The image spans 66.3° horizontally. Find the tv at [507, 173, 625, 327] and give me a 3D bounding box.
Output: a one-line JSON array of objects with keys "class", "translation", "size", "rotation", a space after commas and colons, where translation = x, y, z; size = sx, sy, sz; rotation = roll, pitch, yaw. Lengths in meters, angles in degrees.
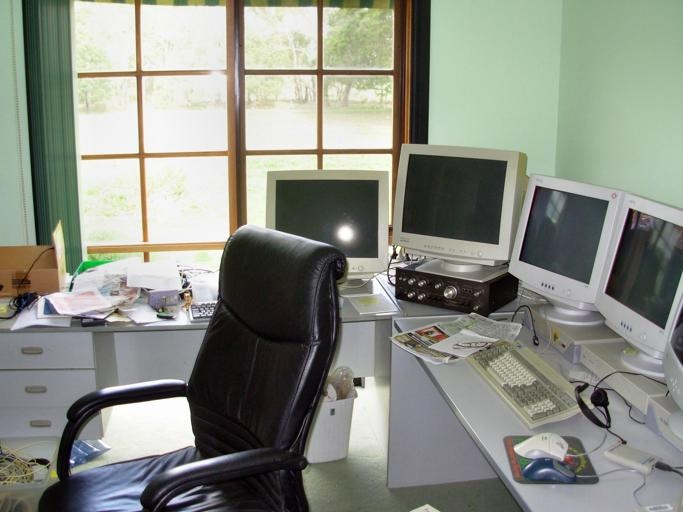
[{"class": "tv", "translation": [0.976, -0.039, 2.218], "size": [0.304, 0.608, 0.422], "rotation": [-18, 25, -28]}]

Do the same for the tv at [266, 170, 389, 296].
[{"class": "tv", "translation": [-0.065, -0.096, 2.871], "size": [0.629, 0.643, 0.367], "rotation": [-1, -18, 2]}]

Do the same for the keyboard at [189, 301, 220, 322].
[{"class": "keyboard", "translation": [-0.669, 0.262, 2.481], "size": [0.152, 0.036, 0.147], "rotation": [-2, 25, -1]}]

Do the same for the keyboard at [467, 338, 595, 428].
[{"class": "keyboard", "translation": [0.654, 0.440, 1.870], "size": [0.239, 0.047, 0.459], "rotation": [-17, 21, -11]}]

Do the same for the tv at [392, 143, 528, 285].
[{"class": "tv", "translation": [0.609, -0.247, 2.681], "size": [0.599, 0.613, 0.333], "rotation": [9, 12, 32]}]

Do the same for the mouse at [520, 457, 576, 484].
[{"class": "mouse", "translation": [0.567, 0.591, 1.433], "size": [0.102, 0.038, 0.068], "rotation": [-4, 10, 8]}]

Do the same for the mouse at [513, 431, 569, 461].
[{"class": "mouse", "translation": [0.583, 0.549, 1.493], "size": [0.162, 0.063, 0.092], "rotation": [3, 17, 6]}]

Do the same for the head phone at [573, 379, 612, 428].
[{"class": "head phone", "translation": [0.816, 0.475, 1.692], "size": [0.037, 0.090, 0.124], "rotation": [31, 32, -31]}]
